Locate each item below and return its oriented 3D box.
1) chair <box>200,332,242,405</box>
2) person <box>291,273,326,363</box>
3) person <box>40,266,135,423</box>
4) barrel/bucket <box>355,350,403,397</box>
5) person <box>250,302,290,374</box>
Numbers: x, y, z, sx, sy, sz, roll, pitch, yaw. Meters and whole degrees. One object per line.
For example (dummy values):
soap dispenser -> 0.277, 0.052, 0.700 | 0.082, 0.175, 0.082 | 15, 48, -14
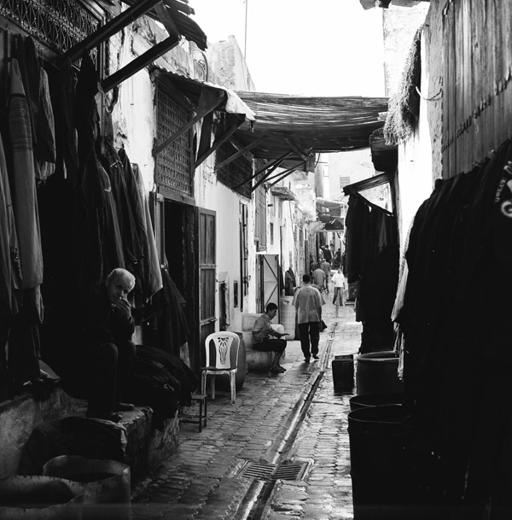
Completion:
chair -> -0.434, 1.342, 8.715 | 0.346, 0.962, 0.518 | -1, -5, 4
person -> 0.954, 1.014, 13.077 | 0.523, 1.513, 2.068 | 0, 1, 6
person -> -1.057, 0.610, 4.967 | 0.426, 1.111, 0.846 | 1, 1, 14
barrel/bucket -> 1.230, 1.174, 7.230 | 0.424, 0.697, 0.538 | -2, -14, 8
person -> 0.216, 1.247, 11.202 | 0.601, 1.055, 0.491 | 0, 1, -43
